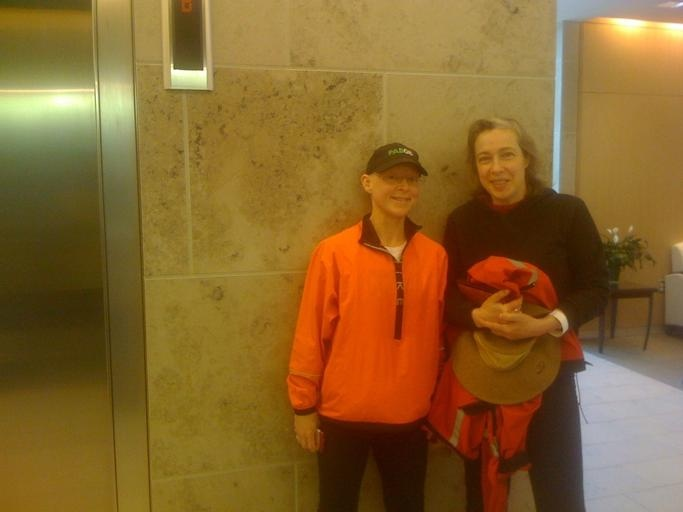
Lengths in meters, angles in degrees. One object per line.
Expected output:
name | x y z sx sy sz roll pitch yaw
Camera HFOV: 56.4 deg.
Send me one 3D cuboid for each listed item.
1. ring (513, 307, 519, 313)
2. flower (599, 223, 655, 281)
ring | 0.855 0.262 3.086 0.020 0.017 0.020 0 9 0
flower | 2.991 -0.079 6.623 0.552 0.635 0.595 2 -2 7
